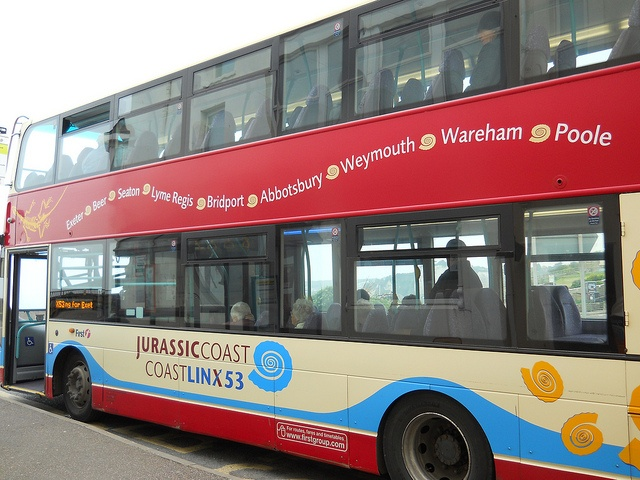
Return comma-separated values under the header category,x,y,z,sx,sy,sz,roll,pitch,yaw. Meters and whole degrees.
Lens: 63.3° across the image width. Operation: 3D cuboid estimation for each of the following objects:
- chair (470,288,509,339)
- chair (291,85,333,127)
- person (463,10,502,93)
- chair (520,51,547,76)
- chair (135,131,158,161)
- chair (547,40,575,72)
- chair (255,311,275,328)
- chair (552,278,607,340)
category,x,y,z,sx,sy,sz,roll,pitch,yaw
chair,1.697,0.698,5.081,0.218,0.488,0.106,-20,-13,38
chair,-0.058,-1.610,6.331,0.490,0.599,0.377,-2,-2,44
person,1.690,-1.930,5.328,0.374,0.842,0.152,-5,-6,28
chair,2.078,-1.724,5.116,0.191,0.290,0.273,2,5,11
chair,-2.628,-1.412,8.007,0.343,0.565,0.444,0,-9,-22
chair,2.342,-1.769,5.010,0.253,0.383,0.208,-5,-7,28
chair,-0.681,0.993,6.475,0.168,0.219,0.223,3,-3,-35
chair,2.430,0.754,4.799,0.352,0.565,0.418,-21,11,-37
